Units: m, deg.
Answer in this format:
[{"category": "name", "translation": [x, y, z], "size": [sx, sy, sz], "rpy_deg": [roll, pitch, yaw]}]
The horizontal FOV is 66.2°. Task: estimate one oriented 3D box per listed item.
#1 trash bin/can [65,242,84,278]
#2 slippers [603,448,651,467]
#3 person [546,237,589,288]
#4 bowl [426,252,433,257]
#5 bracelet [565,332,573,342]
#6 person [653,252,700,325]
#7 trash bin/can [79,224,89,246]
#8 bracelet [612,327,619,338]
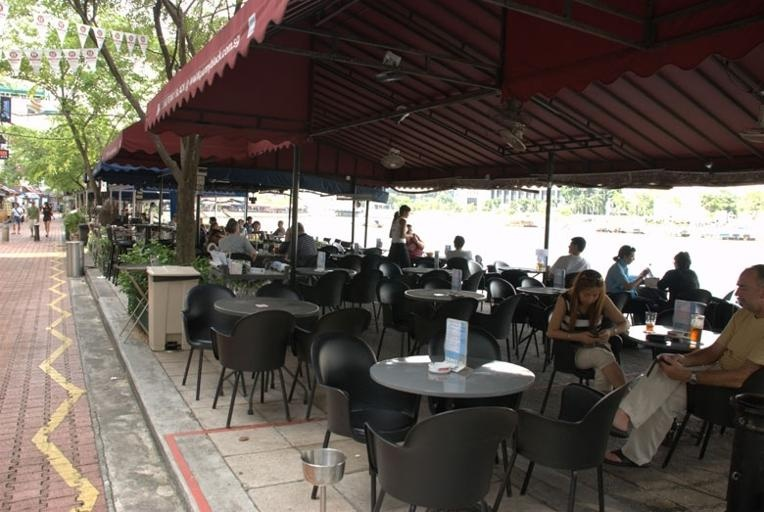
[{"category": "trash bin/can", "translation": [-8.823, 0.101, 16.926], "size": [0.453, 1.031, 0.671], "rpy_deg": [1, 4, -28]}, {"category": "slippers", "translation": [2.531, 2.095, 6.047], "size": [0.520, 0.150, 0.199], "rpy_deg": [4, -3, 5]}, {"category": "person", "translation": [3.414, 0.054, 10.771], "size": [0.649, 0.884, 0.579], "rpy_deg": [16, 21, 39]}, {"category": "bowl", "translation": [1.369, -0.034, 16.484], "size": [0.148, 0.113, 0.164], "rpy_deg": [0, -4, 2]}, {"category": "bracelet", "translation": [2.205, 0.962, 6.895], "size": [0.084, 0.083, 0.023], "rpy_deg": [1, -3, -29]}, {"category": "person", "translation": [5.025, 0.681, 9.987], "size": [0.612, 1.490, 0.812], "rpy_deg": [1, 2, 5]}, {"category": "trash bin/can", "translation": [-11.196, -0.863, 22.095], "size": [0.322, 0.618, 0.567], "rpy_deg": [1, 4, -30]}, {"category": "bracelet", "translation": [2.777, 0.929, 6.982], "size": [0.088, 0.070, 0.091], "rpy_deg": [-2, 7, 12]}]
